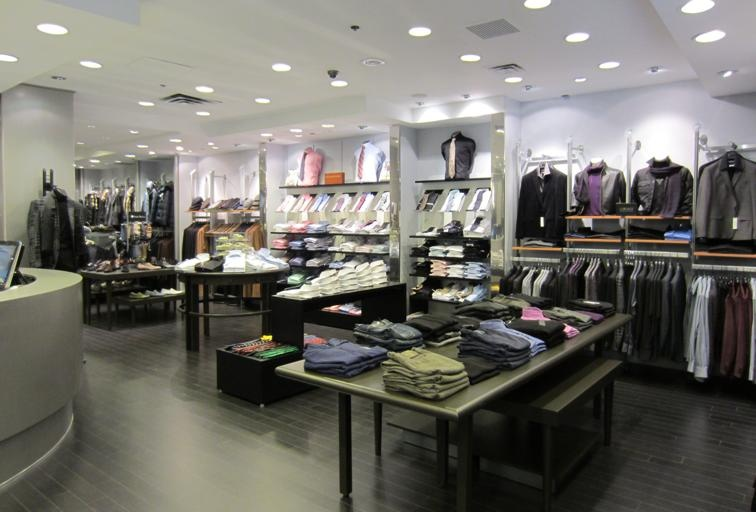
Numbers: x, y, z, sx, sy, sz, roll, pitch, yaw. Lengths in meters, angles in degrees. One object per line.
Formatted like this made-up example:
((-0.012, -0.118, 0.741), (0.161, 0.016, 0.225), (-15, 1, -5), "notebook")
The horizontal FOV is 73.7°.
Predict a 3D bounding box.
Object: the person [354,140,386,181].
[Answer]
((-0.099, -1.613, 8.648), (0.516, 0.668, 0.367), (0, 12, 1), "person")

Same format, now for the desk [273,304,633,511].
((0.549, 1.280, 4.146), (1.553, 1.140, 2.090), (10, 15, 39), "desk")

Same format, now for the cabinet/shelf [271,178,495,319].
((-0.071, -0.542, 8.690), (4.303, 1.685, 0.757), (8, 15, 34), "cabinet/shelf")

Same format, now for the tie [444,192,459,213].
((1.183, -0.835, 7.902), (0.201, 0.330, 0.083), (5, -23, 43), "tie")

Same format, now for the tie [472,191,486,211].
((1.524, -0.850, 7.675), (0.168, 0.308, 0.215), (5, 13, 21), "tie")

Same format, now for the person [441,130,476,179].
((1.251, -1.564, 7.819), (0.528, 0.736, 0.361), (2, 12, 6), "person")

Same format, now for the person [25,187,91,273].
((-4.394, -0.345, 6.908), (0.703, 1.163, 0.251), (-6, 14, -28), "person")

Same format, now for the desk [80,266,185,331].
((-4.337, 0.603, 8.707), (1.419, 0.908, 1.282), (11, 16, 43), "desk")

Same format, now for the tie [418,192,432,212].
((0.793, -0.899, 8.163), (0.264, 0.316, 0.251), (6, 13, 25), "tie")
